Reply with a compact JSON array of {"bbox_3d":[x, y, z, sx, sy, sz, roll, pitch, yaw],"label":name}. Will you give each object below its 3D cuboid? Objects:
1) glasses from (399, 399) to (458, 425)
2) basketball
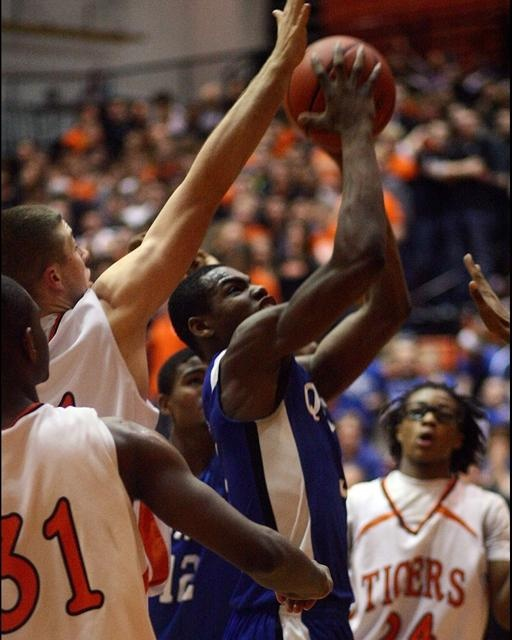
[{"bbox_3d":[0.595,0.316,3.664,0.148,0.042,0.062,1,56,15],"label":"glasses"},{"bbox_3d":[0.222,-0.633,2.983,0.293,0.368,0.301,-1,0,2],"label":"basketball"}]
